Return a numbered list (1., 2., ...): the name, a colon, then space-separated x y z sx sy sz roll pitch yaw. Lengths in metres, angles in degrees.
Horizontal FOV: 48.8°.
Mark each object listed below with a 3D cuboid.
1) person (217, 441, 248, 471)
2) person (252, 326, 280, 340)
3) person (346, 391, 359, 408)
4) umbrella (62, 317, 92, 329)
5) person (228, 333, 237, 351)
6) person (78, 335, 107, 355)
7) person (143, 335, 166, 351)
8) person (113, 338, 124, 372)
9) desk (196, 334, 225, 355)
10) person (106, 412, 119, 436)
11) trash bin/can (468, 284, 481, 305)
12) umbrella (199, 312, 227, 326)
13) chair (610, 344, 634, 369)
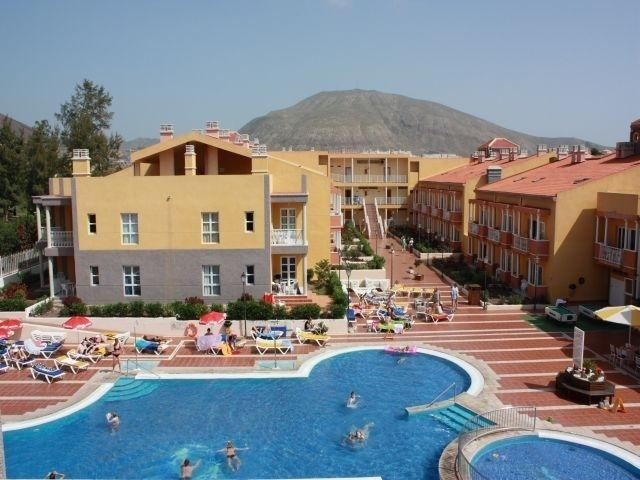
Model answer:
1. person: -3.936 9.640 31.492 1.255 0.468 1.401 -5 30 -12
2. person: -3.195 5.442 41.458 1.121 0.380 0.859 1 2 1
3. person: 1.598 7.784 35.026 0.532 0.247 0.760 0 17 10
4. umbrella: -13.752 4.655 40.204 1.041 0.380 1.044 2 3 3
5. person: -5.095 5.814 40.727 0.331 0.911 0.642 1 -3 -9
6. person: -12.928 6.011 40.197 1.031 0.449 1.338 2 4 -7
7. person: -9.565 5.916 40.721 1.200 0.358 0.913 10 2 -25
8. person: -11.375 6.363 39.408 0.642 2.019 0.579 4 -22 -12
9. desk: -6.344 5.968 40.450 1.454 1.013 0.880 -3 2 -10
10. person: -9.858 8.696 33.437 0.567 1.092 0.615 5 41 -13
11. trash bin/can: 10.594 3.785 48.629 0.876 1.321 0.845 -2 2 11
12. umbrella: -6.383 4.661 41.623 1.501 0.892 2.472 -3 2 -2
13. chair: 16.411 6.319 38.337 0.966 1.376 1.419 -2 6 -7
